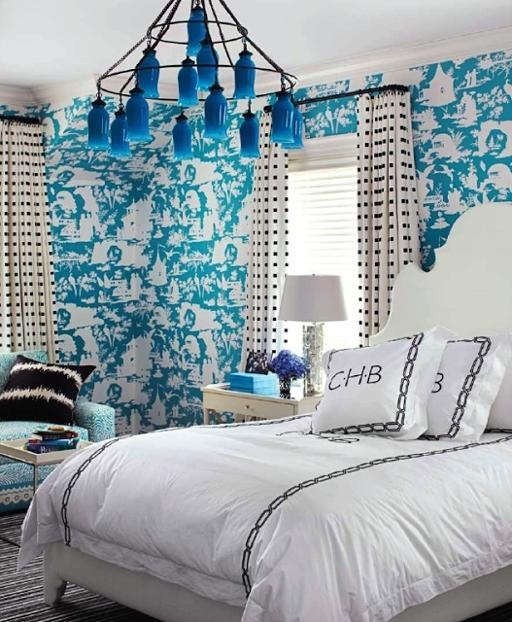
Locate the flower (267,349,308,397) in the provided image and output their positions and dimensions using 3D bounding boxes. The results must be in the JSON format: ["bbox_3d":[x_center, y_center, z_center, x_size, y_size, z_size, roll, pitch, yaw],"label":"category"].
[{"bbox_3d":[0.191,0.359,3.602,0.243,0.330,0.275,-1,4,-29],"label":"flower"}]

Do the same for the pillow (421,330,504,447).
[{"bbox_3d":[0.856,0.308,2.334,0.110,0.433,0.308,26,-14,-36],"label":"pillow"}]

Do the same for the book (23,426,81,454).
[{"bbox_3d":[-1.040,0.670,2.937,0.165,0.063,0.146,-2,4,-45],"label":"book"}]
